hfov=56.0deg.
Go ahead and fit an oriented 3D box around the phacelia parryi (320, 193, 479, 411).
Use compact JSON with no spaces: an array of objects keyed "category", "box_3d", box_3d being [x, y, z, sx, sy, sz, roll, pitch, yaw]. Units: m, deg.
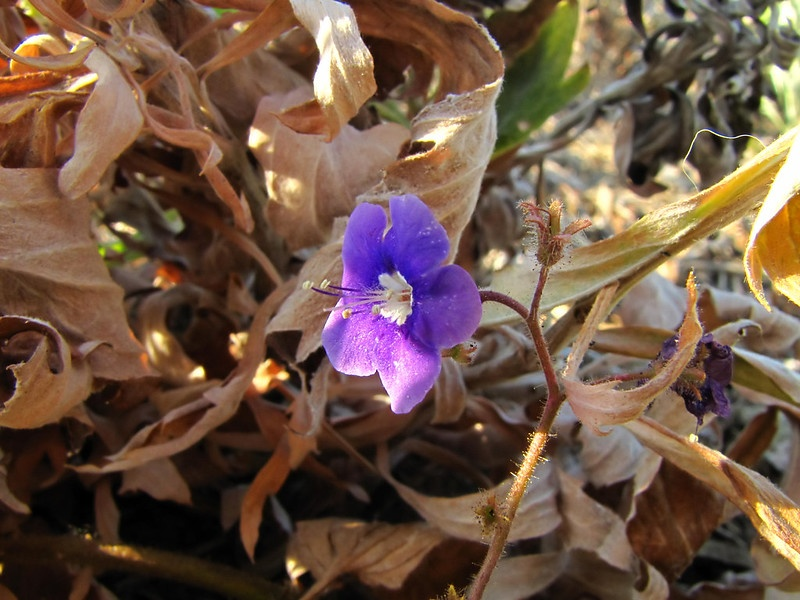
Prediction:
[{"category":"phacelia parryi","box_3d":[-0.006,-0.005,0.682,0.161,0.162,0.056,37,-11,-28]}]
